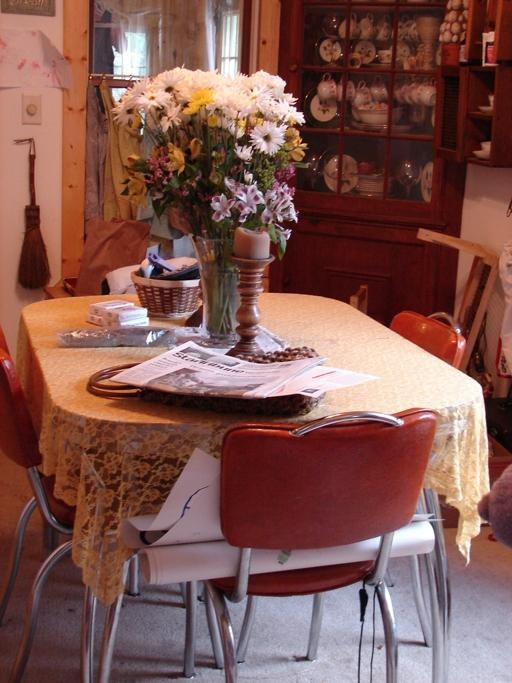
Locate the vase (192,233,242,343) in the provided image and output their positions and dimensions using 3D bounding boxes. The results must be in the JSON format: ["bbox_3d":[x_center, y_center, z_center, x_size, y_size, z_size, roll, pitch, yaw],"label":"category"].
[{"bbox_3d":[-0.097,-0.110,1.263,0.144,0.220,0.137,2,1,-9],"label":"vase"}]

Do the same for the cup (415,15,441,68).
[{"bbox_3d":[0.871,-1.513,2.963,0.117,0.230,0.114,-4,36,3],"label":"cup"}]

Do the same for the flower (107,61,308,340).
[{"bbox_3d":[-0.075,-0.269,1.312,0.415,0.524,0.401,-10,24,-44],"label":"flower"}]

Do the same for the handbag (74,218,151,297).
[{"bbox_3d":[-0.695,-0.443,2.706,0.332,0.402,0.122,1,-16,0],"label":"handbag"}]
